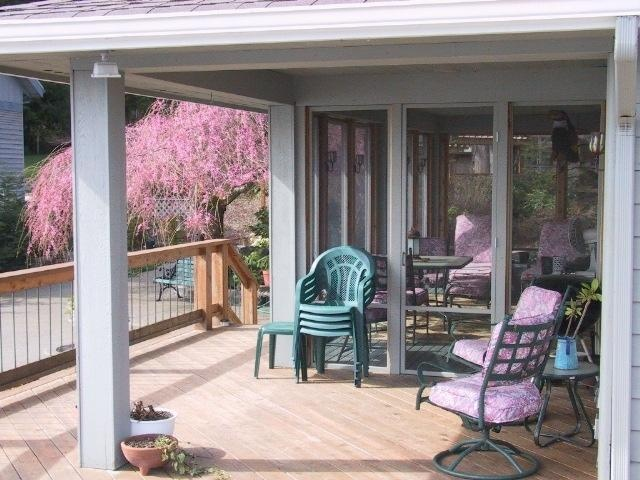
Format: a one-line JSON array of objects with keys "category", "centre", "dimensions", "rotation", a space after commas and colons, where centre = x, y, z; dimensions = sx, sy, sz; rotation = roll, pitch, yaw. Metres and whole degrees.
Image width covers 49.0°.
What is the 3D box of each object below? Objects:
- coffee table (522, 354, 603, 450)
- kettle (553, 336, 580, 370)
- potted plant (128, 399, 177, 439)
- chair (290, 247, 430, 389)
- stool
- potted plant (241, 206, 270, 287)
[{"category": "coffee table", "centre": [1.926, 1.256, 5.530], "dimensions": [0.617, 0.690, 0.622], "rotation": [-1, -2, 2]}, {"category": "kettle", "centre": [1.911, 0.862, 5.388], "dimensions": [0.193, 0.233, 0.222], "rotation": [0, 7, -7]}, {"category": "potted plant", "centre": [-1.216, 1.304, 5.105], "dimensions": [0.284, 0.115, 0.260], "rotation": [2, 4, -2]}, {"category": "chair", "centre": [0.144, 0.725, 6.863], "dimensions": [0.793, 1.286, 0.756], "rotation": [1, 8, 6]}, {"category": "stool", "centre": [-0.459, 1.089, 6.985], "dimensions": [0.471, 0.486, 0.513], "rotation": [0, 2, 15]}, {"category": "potted plant", "centre": [-1.314, 0.027, 14.172], "dimensions": [0.518, 1.484, 1.510], "rotation": [-1, 8, -8]}]
